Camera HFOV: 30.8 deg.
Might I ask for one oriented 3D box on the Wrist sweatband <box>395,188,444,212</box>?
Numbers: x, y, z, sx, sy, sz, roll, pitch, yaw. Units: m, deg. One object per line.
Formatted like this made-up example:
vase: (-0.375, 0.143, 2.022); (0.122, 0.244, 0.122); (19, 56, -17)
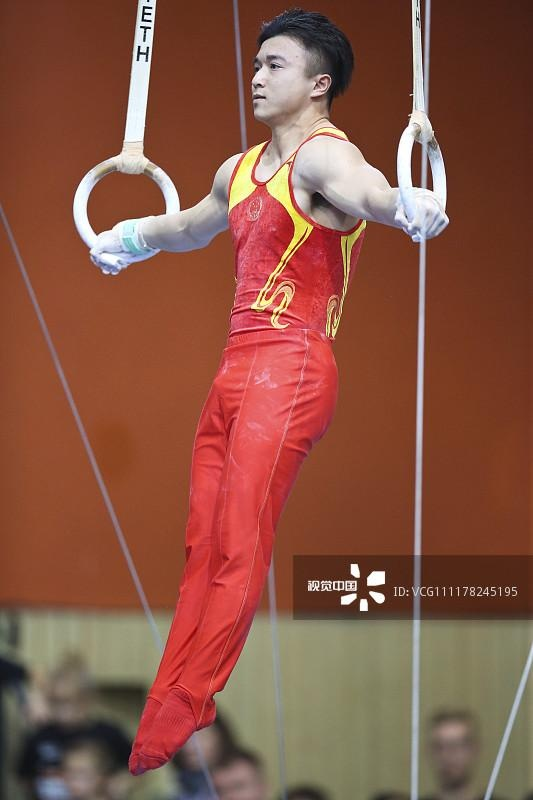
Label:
Wrist sweatband: (0.191, -0.251, 1.215); (0.052, 0.048, 0.017); (1, -41, -1)

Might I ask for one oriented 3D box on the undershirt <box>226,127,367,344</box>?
undershirt: (0.038, -0.243, 1.494); (0.201, 0.325, 0.190); (7, 15, 33)

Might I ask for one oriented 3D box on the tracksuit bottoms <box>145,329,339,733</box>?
tracksuit bottoms: (-0.051, 0.187, 1.383); (0.160, 0.578, 0.226); (25, -18, -24)
